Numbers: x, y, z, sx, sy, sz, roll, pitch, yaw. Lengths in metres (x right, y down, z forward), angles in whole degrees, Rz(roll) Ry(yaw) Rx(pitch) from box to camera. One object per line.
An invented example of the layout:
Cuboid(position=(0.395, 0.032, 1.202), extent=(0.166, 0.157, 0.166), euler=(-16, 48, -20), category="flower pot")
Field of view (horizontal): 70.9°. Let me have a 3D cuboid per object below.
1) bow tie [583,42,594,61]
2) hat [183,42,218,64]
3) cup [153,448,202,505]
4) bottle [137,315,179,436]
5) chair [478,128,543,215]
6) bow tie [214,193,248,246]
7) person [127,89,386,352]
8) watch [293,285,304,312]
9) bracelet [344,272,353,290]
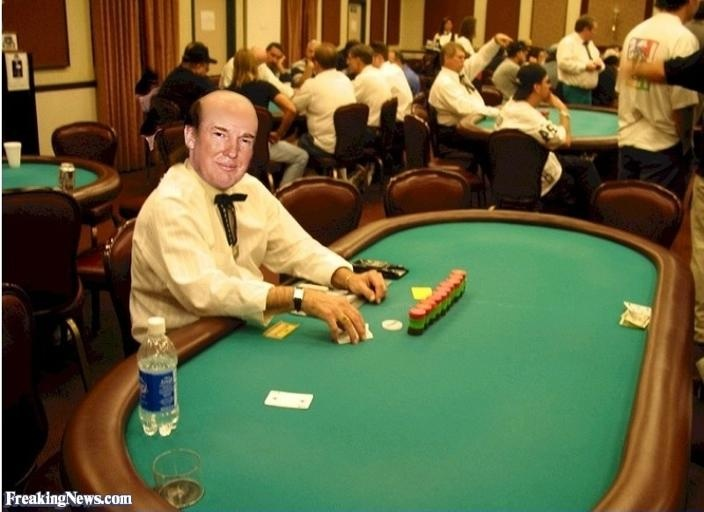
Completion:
Cuboid(position=(3.390, -2.933, 7.116), extent=(0.172, 0.231, 0.059), euler=(-1, 9, -12), category="bow tie")
Cuboid(position=(-1.694, -2.245, 5.628), extent=(0.252, 0.205, 0.368), euler=(25, 39, 30), category="hat")
Cuboid(position=(-0.331, 0.426, 0.948), extent=(0.087, 0.069, 0.088), euler=(0, 16, 0), category="cup")
Cuboid(position=(-0.481, 0.268, 1.224), extent=(0.099, 0.250, 0.294), euler=(-2, 9, -21), category="bottle")
Cuboid(position=(1.315, -0.750, 4.191), extent=(0.528, 0.837, 0.584), euler=(5, 26, 20), category="chair")
Cuboid(position=(-0.492, -0.149, 1.926), extent=(0.130, 0.197, 0.046), euler=(-3, 14, -11), category="bow tie")
Cuboid(position=(-0.373, -0.119, 1.908), extent=(0.997, 0.944, 0.737), euler=(9, 16, 32), category="person")
Cuboid(position=(-0.175, 0.143, 1.626), extent=(0.040, 0.066, 0.067), euler=(5, -13, 3), category="watch")
Cuboid(position=(-0.013, 0.103, 1.895), extent=(0.018, 0.037, 0.049), euler=(7, -27, -2), category="bracelet")
